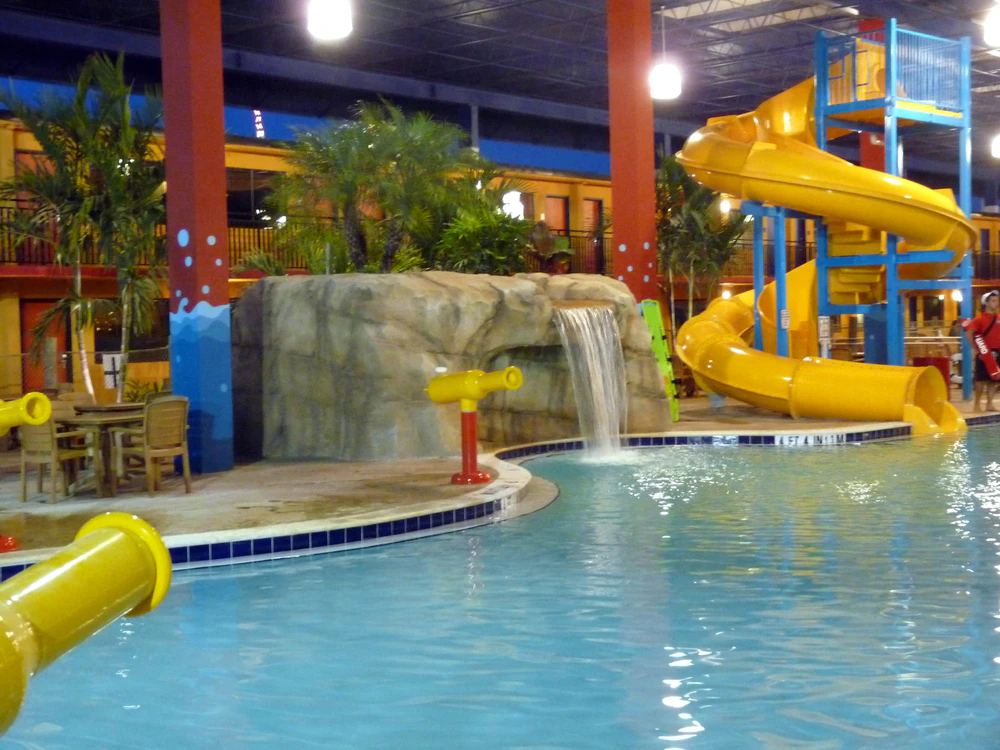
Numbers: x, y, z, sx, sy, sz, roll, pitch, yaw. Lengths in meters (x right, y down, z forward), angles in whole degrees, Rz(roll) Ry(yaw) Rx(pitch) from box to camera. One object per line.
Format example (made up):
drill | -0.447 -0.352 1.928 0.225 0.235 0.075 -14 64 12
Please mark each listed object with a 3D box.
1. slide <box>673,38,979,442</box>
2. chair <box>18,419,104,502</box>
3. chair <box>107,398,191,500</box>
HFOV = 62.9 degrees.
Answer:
slide | 5.982 -2.384 14.816 5.420 6.042 5.531 0 9 -23
chair | -4.208 0.709 7.793 0.600 0.771 0.623 -3 0 24
chair | -3.269 0.648 7.659 0.661 0.830 0.633 -5 -4 16
